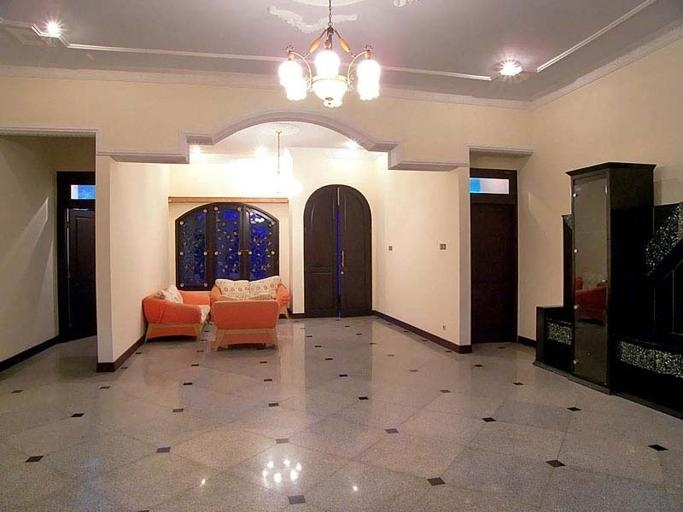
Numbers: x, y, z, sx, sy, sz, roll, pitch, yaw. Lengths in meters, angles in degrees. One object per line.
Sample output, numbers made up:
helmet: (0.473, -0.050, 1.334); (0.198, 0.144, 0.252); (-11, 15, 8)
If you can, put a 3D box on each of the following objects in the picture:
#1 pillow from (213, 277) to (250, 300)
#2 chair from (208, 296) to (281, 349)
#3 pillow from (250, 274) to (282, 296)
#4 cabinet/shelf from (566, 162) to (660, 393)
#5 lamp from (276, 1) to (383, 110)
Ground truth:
pillow: (-2.404, 0.695, 10.551); (0.536, 0.555, 0.205); (-1, -27, -13)
chair: (-1.599, 1.097, 8.265); (0.852, 0.797, 0.890); (0, 6, -6)
pillow: (-1.671, 0.570, 10.749); (0.512, 0.169, 0.536); (7, 18, 19)
cabinet/shelf: (3.308, 0.222, 5.917); (0.849, 2.695, 0.599); (4, 7, 34)
lamp: (-0.157, -2.310, 5.347); (0.945, 1.329, 0.870); (3, 9, 14)
